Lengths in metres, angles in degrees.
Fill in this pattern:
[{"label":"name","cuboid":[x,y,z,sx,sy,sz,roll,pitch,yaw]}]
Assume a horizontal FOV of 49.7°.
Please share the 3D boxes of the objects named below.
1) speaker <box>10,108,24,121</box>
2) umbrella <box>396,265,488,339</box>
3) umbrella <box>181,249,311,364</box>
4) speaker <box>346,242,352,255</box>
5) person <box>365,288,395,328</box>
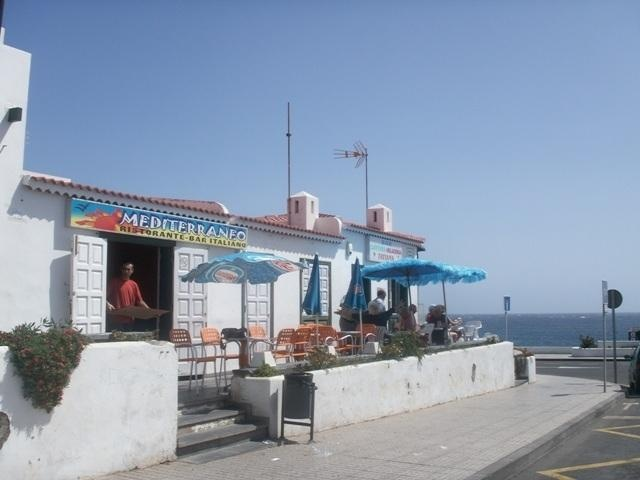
[{"label":"speaker","cuboid":[-5.434,-2.267,12.382,0.221,0.243,0.126,1,3,-4]},{"label":"umbrella","cuboid":[3.142,1.434,18.683,2.197,0.886,2.547,-3,-10,21]},{"label":"umbrella","cuboid":[-1.610,1.422,14.648,2.585,2.501,2.365,2,12,8]},{"label":"speaker","cuboid":[0.833,0.246,20.510,0.076,0.336,0.180,-1,-6,43]},{"label":"person","cuboid":[1.573,1.709,18.246,0.658,0.958,0.696,8,-3,-27]}]
